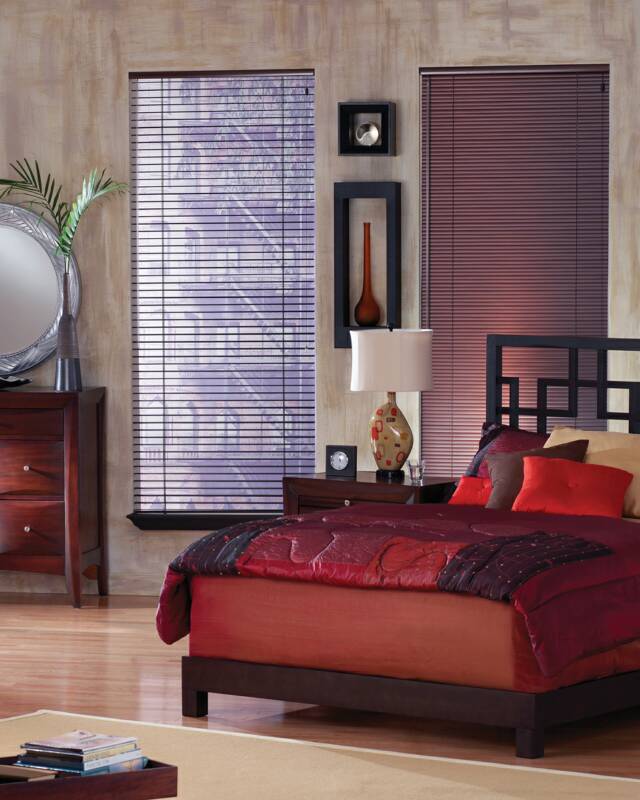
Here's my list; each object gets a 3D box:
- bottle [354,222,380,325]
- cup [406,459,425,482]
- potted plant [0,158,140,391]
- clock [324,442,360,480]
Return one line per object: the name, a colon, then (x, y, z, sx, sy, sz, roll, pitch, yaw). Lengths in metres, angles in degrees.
bottle: (0.255, -0.677, 5.002, 0.119, 0.566, 0.088, 3, 6, 28)
cup: (0.449, 0.343, 4.524, 0.118, 0.111, 0.110, 0, -5, 0)
potted plant: (-1.550, -0.708, 5.096, 0.737, 1.285, 0.530, 2, 5, 17)
clock: (0.108, 0.308, 4.701, 0.186, 0.156, 0.059, 1, -1, 23)
